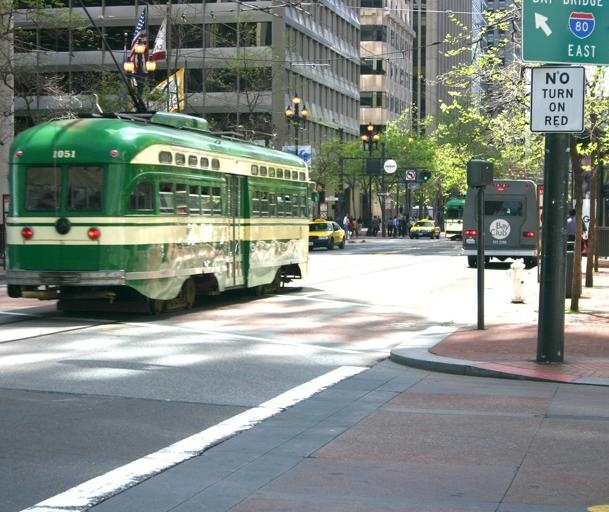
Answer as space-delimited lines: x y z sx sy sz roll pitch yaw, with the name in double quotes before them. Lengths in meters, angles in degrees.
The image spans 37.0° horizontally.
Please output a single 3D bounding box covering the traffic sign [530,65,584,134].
"traffic sign" 2.987 -1.843 10.734 0.952 1.054 0.090 0 2 5
